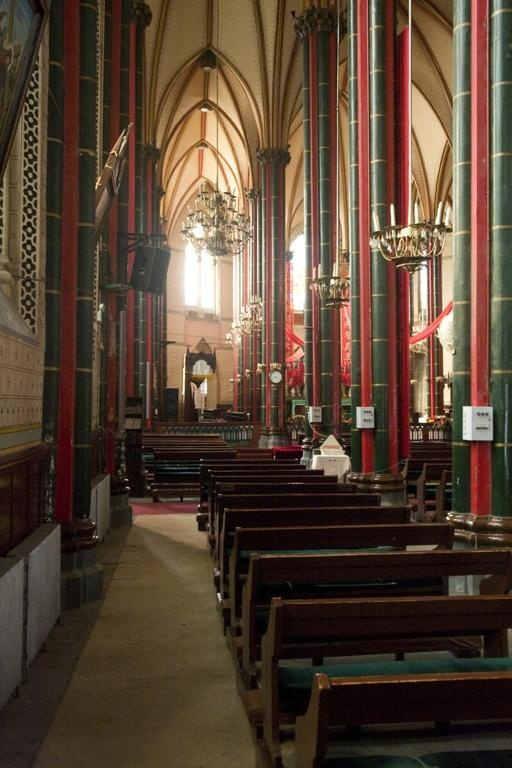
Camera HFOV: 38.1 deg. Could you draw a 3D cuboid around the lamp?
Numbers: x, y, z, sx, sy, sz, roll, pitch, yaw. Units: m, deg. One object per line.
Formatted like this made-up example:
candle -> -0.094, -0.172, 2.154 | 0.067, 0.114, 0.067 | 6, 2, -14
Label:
lamp -> -1.173, -6.133, 19.637 | 1.148, 4.673, 1.150 | -7, 8, -44
